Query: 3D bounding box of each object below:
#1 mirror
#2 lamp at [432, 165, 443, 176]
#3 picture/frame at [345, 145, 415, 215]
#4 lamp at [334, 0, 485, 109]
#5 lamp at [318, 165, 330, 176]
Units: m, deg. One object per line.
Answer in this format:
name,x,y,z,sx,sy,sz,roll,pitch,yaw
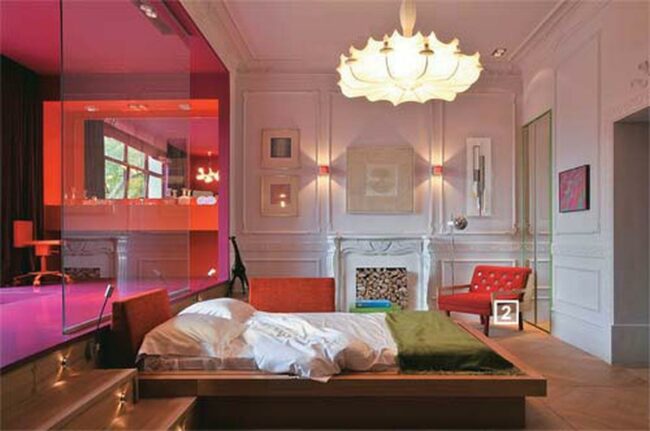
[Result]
mirror,-2.191,-0.743,5.812,0.031,0.999,1.762,-2,-1,25
lamp,1.858,-0.743,7.996,0.168,0.167,0.167,1,4,2
picture/frame,0.953,-0.565,8.066,1.169,1.088,0.123,0,2,2
lamp,0.928,-1.930,5.790,1.341,1.360,1.343,1,-23,2
lamp,-0.003,-0.750,8.091,0.172,0.159,0.117,0,4,1
